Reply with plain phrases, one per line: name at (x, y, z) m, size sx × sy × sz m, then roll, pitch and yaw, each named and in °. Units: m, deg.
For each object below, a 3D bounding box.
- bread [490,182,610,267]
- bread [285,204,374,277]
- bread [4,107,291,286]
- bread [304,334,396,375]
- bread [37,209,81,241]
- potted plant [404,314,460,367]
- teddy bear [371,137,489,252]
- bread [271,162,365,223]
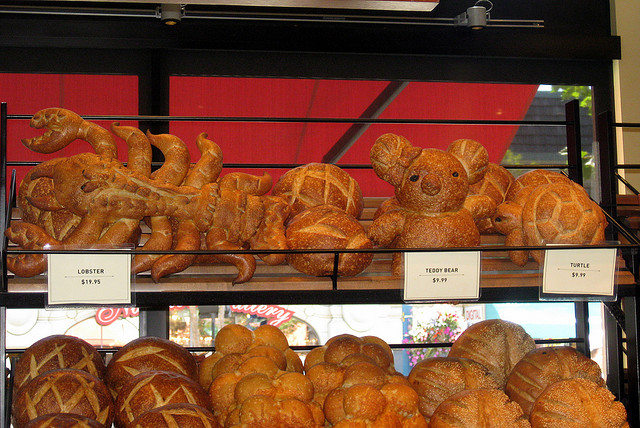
bread at (0.605, 0.014, 1.957) m, size 0.268 × 0.217 × 0.082 m, roll -5°, pitch -27°, yaw 8°
bread at (0.031, 0.051, 1.960) m, size 0.237 × 0.102 × 0.311 m, roll -9°, pitch 26°, yaw -12°
bread at (-0.438, -0.031, 1.896) m, size 0.643 × 0.448 × 0.151 m, roll 11°, pitch -26°, yaw -12°
bread at (0.075, 0.386, 2.068) m, size 0.240 × 0.087 × 0.256 m, roll -12°, pitch -10°, yaw 21°
bread at (-0.675, 0.025, 1.874) m, size 0.089 × 0.091 × 0.026 m, roll 34°, pitch 0°, yaw 6°
potted plant at (0.514, 0.545, 3.159) m, size 0.229 × 0.224 × 0.299 m, roll 0°, pitch -1°, yaw -18°
teddy bear at (0.303, -0.043, 1.978) m, size 0.358 × 0.319 × 0.211 m, roll -3°, pitch 14°, yaw -5°
bread at (-0.004, -0.067, 1.988) m, size 0.181 × 0.099 × 0.180 m, roll 24°, pitch 42°, yaw 17°
